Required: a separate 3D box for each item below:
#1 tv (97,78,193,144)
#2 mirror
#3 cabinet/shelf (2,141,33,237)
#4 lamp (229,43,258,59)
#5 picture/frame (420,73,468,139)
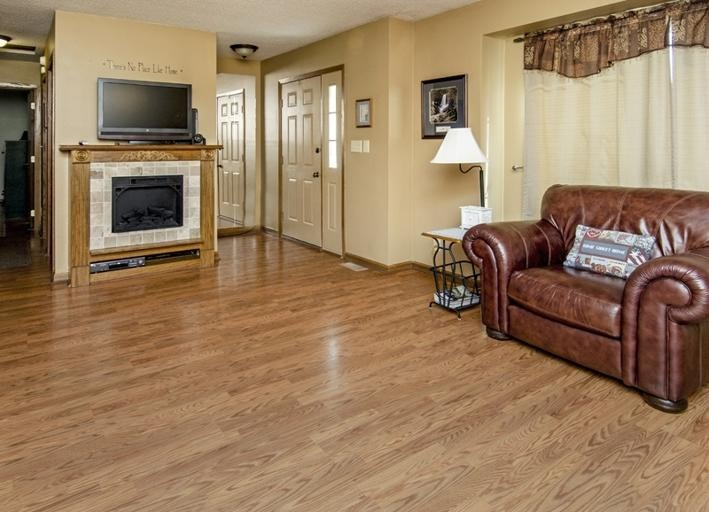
[{"bbox_3d":[-2.313,-1.581,5.155,0.891,0.550,0.082,-2,2,-29],"label":"tv"},{"bbox_3d":[-1.975,-1.731,7.930,0.415,2.389,1.135,-9,17,-34],"label":"mirror"},{"bbox_3d":[-5.865,-1.318,8.253,0.503,1.351,1.275,-10,17,-35],"label":"cabinet/shelf"},{"bbox_3d":[-1.498,-2.785,6.414,0.226,0.073,0.220,-1,1,20],"label":"lamp"},{"bbox_3d":[0.930,-1.576,5.057,0.138,0.626,0.666,-7,16,-27],"label":"picture/frame"}]
